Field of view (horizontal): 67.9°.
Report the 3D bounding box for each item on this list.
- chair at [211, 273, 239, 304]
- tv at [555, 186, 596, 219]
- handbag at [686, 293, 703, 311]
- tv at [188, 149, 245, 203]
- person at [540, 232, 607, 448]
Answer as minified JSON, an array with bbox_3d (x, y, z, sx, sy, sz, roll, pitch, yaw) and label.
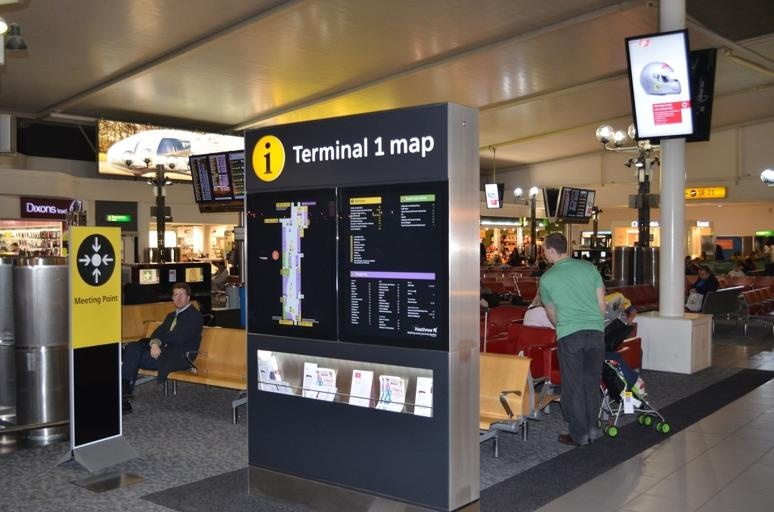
[{"bbox_3d":[-4.711,0.930,16.400,0.614,1.037,1.119,-4,6,-41],"label":"chair"},{"bbox_3d":[7.521,-2.069,22.832,2.141,1.336,0.542,-6,9,-43],"label":"tv"},{"bbox_3d":[7.020,1.031,13.032,0.288,0.493,0.417,7,-6,-30],"label":"handbag"},{"bbox_3d":[-3.790,-1.749,12.790,1.607,1.128,0.315,4,8,38],"label":"tv"},{"bbox_3d":[2.164,0.961,6.713,0.730,2.455,0.466,2,7,19],"label":"person"}]
